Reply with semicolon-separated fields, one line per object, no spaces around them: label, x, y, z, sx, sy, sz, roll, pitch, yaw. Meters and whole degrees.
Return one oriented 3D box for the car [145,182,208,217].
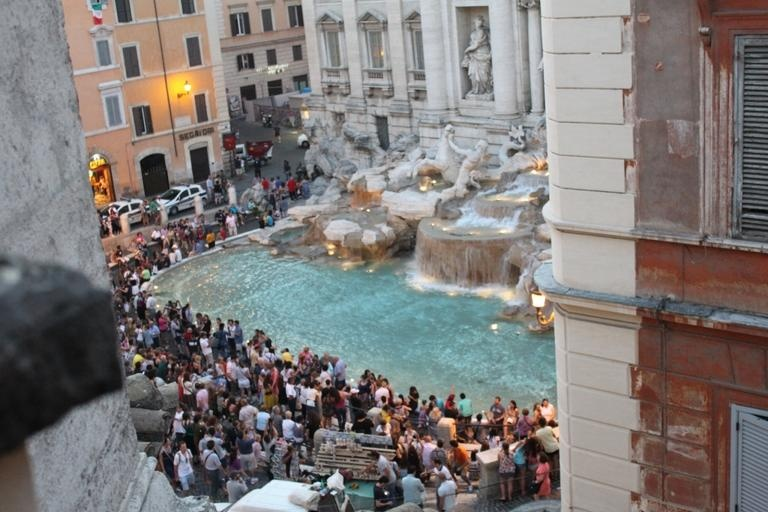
car;-11.122;-3.164;39.772;2.860;1.337;1.666;-13;17;-38

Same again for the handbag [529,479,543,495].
handbag;3.070;4.653;14.477;0.166;0.379;0.117;11;39;-7

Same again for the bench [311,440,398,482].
bench;-0.672;4.280;15.223;1.683;0.699;0.589;2;15;15

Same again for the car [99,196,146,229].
car;-13.594;-2.347;37.612;2.299;0.953;1.345;-3;15;-34

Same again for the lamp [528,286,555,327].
lamp;5.247;1.694;23.744;0.652;1.479;0.807;-10;12;-33

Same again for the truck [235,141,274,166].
truck;-8.716;-6.998;48.888;1.689;1.317;2.221;0;2;11
